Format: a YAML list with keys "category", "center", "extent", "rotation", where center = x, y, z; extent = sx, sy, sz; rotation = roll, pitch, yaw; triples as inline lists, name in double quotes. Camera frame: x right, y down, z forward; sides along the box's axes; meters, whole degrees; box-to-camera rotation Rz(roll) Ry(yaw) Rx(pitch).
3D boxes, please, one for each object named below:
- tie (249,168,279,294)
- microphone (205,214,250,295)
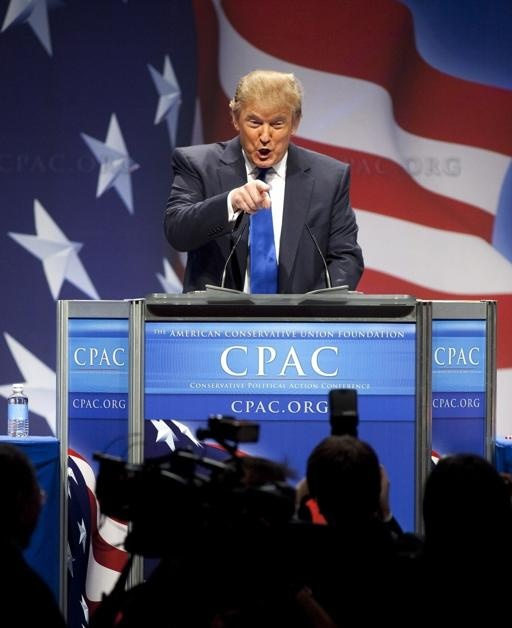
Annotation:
- category: "tie"
  center: [0.019, -0.161, 1.910]
  extent: [0.098, 0.223, 0.052]
  rotation: [4, -7, -22]
- category: "microphone"
  center: [-0.065, -0.151, 1.861]
  extent: [0.093, 0.286, 0.113]
  rotation: [7, -16, -4]
